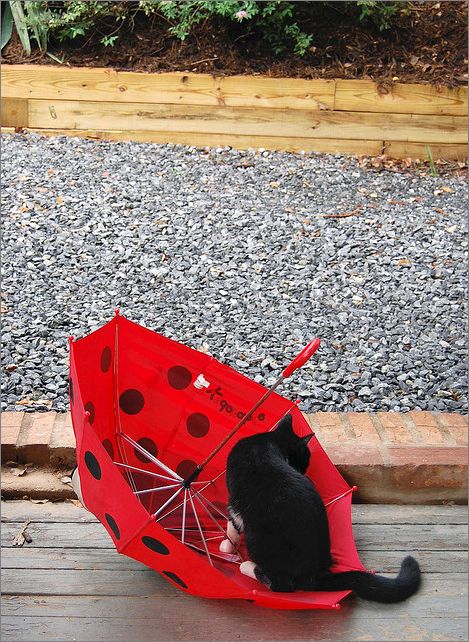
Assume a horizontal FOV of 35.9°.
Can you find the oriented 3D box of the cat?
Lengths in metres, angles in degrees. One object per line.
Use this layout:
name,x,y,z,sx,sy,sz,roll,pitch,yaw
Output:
cat,0.220,0.543,1.979,0.426,0.319,0.611,-11,26,-40
